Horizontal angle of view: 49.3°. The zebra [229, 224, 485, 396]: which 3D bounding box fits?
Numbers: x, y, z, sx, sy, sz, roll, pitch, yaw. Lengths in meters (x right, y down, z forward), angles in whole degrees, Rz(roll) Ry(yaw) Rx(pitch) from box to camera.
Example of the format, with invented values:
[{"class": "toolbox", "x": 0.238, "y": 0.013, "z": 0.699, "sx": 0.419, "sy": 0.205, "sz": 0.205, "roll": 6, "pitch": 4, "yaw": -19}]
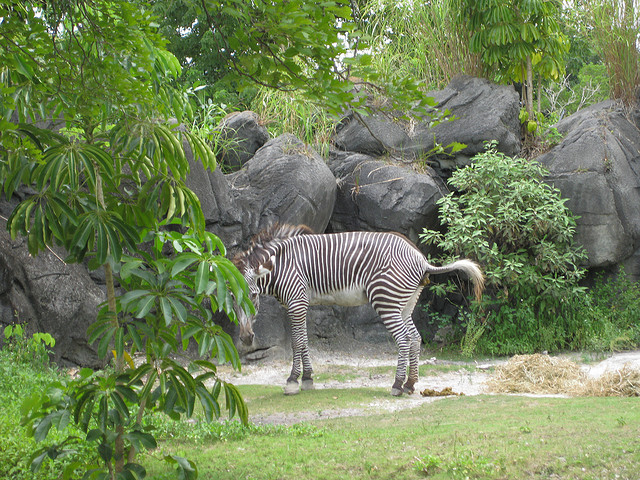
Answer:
[{"class": "zebra", "x": 0.371, "y": 0.898, "z": 9.242, "sx": 3.166, "sy": 2.439, "sz": 1.070, "roll": 0, "pitch": 6, "yaw": 10}]
